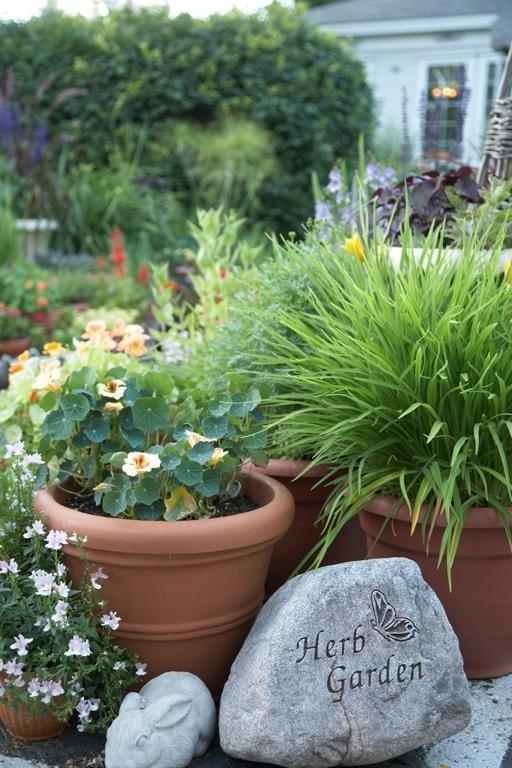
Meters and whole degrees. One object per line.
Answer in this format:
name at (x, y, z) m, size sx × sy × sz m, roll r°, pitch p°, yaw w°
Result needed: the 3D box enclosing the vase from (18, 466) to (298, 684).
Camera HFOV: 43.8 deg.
vase at (-0.182, 0.364, 1.252) m, size 0.422 × 0.273 × 0.418 m, roll 3°, pitch 8°, yaw 30°
